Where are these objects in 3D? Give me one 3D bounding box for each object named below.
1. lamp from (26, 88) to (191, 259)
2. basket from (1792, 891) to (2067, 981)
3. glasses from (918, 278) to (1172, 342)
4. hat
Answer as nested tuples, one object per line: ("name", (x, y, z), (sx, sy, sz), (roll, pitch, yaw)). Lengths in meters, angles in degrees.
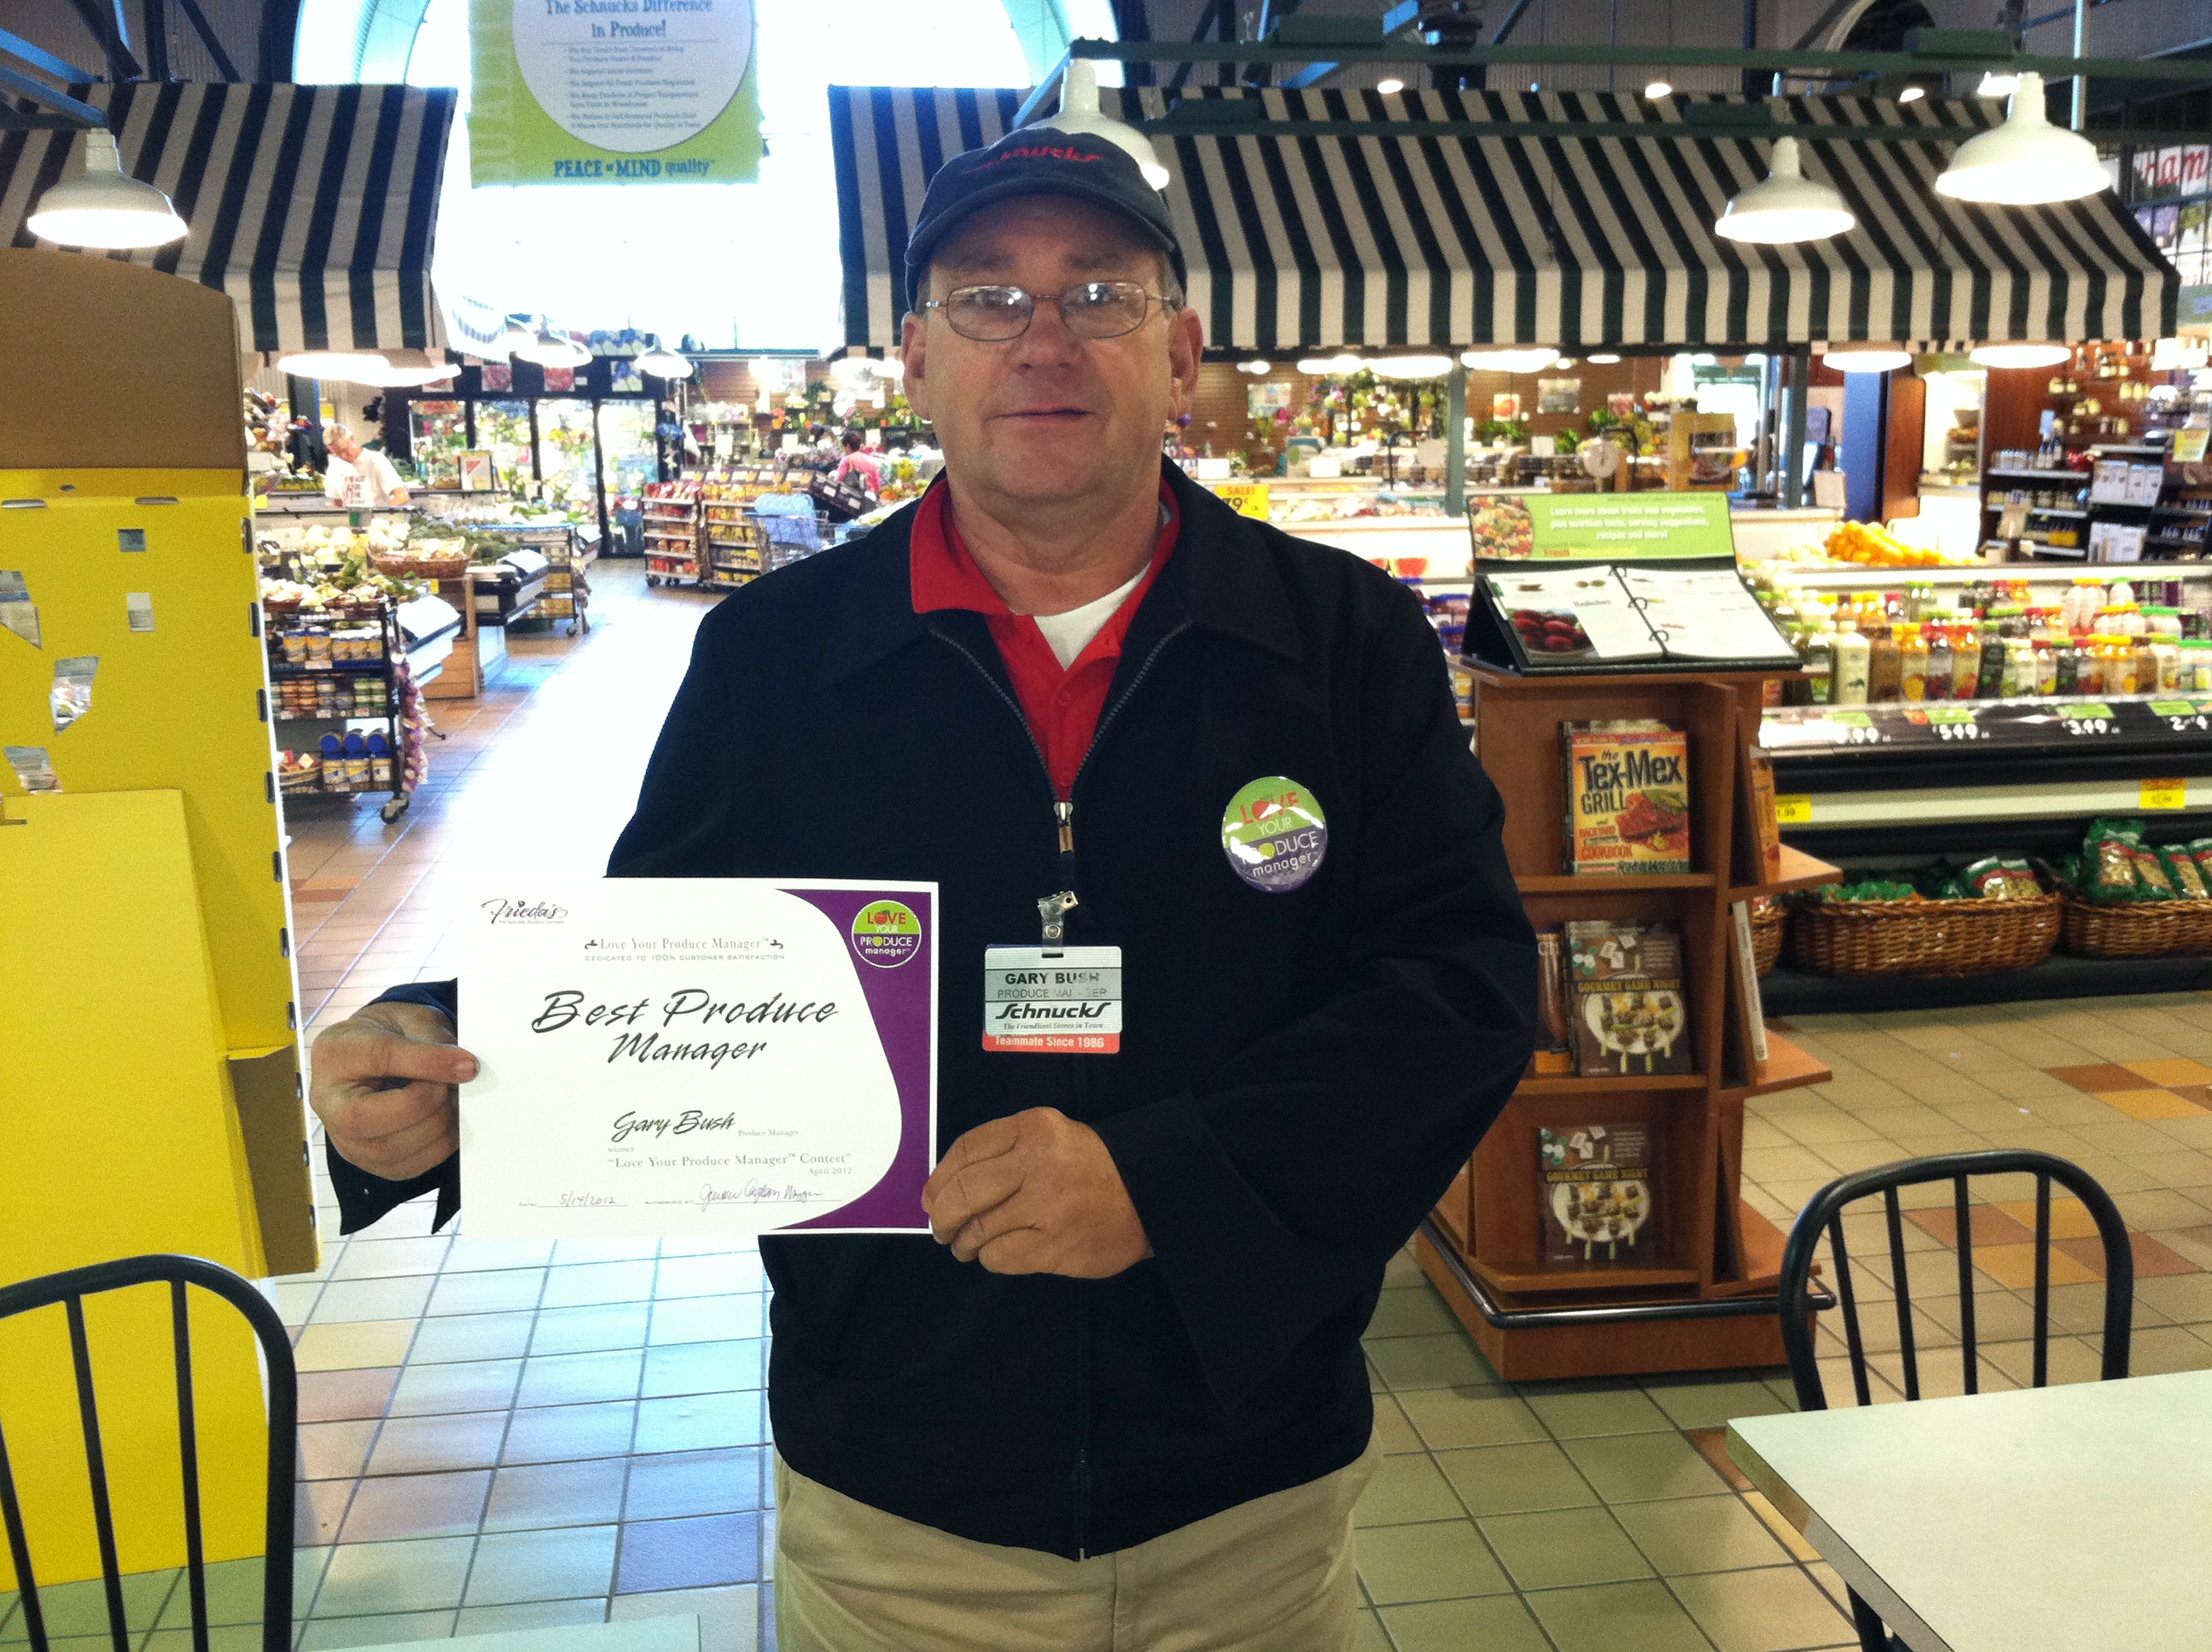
("lamp", (-4.030, -2.629, 6.896), (0.483, 0.715, 1.470), (-10, 12, -26))
("basket", (3.055, 0.407, 6.367), (0.675, 0.185, 0.422), (-1, 2, -2))
("glasses", (-0.069, -0.620, 2.073), (0.281, 0.073, 0.061), (-3, 11, 1))
("hat", (-0.060, -0.761, 2.210), (0.359, 0.173, 0.434), (1, 4, -6))
